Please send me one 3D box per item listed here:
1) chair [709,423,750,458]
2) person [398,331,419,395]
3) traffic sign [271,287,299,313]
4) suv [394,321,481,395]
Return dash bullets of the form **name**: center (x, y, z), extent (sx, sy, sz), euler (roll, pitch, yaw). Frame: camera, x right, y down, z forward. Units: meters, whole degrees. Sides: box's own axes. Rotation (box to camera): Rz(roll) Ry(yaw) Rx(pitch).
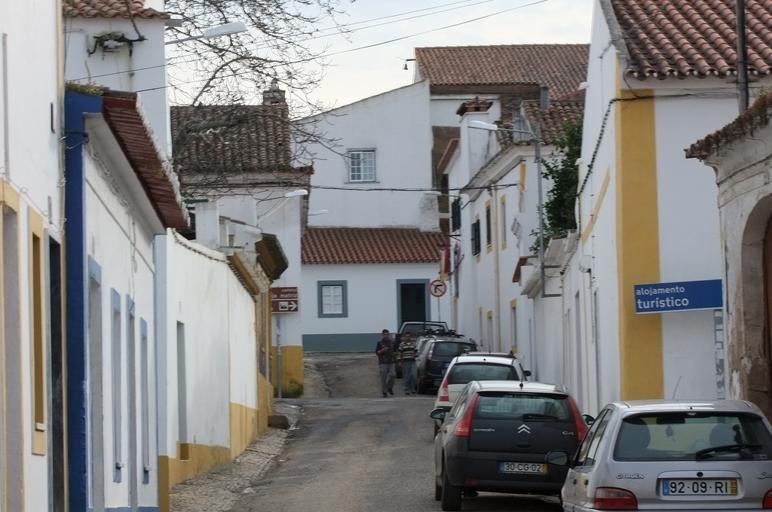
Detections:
- **chair**: center (4.394, 2.360, 22.041), extent (0.485, 0.331, 0.166), euler (-5, -34, 8)
- **person**: center (0.581, 2.964, 47.839), extent (0.487, 1.707, 1.342), euler (-2, -4, 0)
- **traffic sign**: center (-2.932, 1.224, 48.588), extent (0.805, 0.647, 0.101), euler (0, -1, 2)
- **suv**: center (1.291, 2.733, 46.192), extent (1.816, 1.488, 3.805), euler (0, 2, -3)
